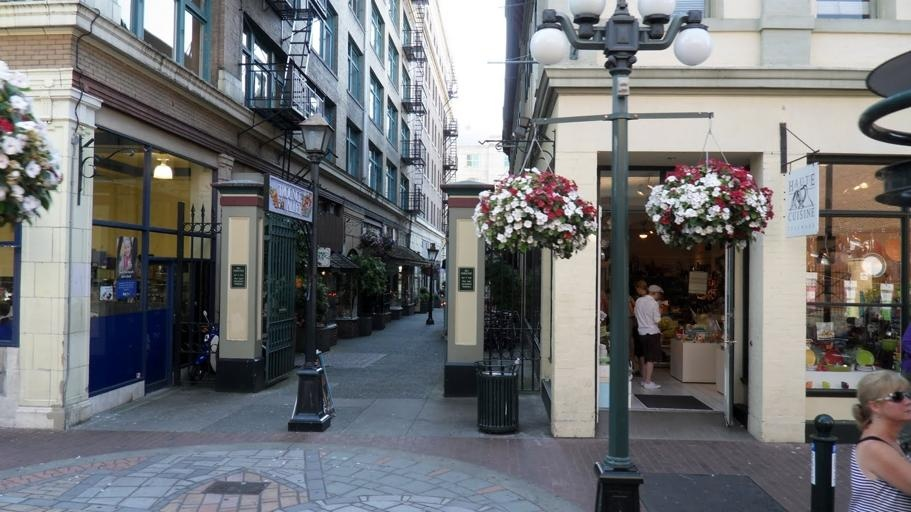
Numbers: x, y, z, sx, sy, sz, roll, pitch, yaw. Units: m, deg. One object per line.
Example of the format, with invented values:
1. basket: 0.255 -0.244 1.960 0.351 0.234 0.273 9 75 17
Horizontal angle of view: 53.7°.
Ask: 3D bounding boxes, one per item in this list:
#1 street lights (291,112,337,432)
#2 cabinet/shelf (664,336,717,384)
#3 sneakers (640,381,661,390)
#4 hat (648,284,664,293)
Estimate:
1. street lights: -2.910 0.312 18.473 0.837 6.500 0.957 1 -5 -9
2. cabinet/shelf: 5.530 2.495 21.096 0.986 0.933 1.006 1 -4 2
3. sneakers: 4.411 2.946 20.259 0.488 0.197 0.157 0 1 -2
4. hat: 4.681 0.760 20.678 0.286 0.105 0.207 -4 6 -41
